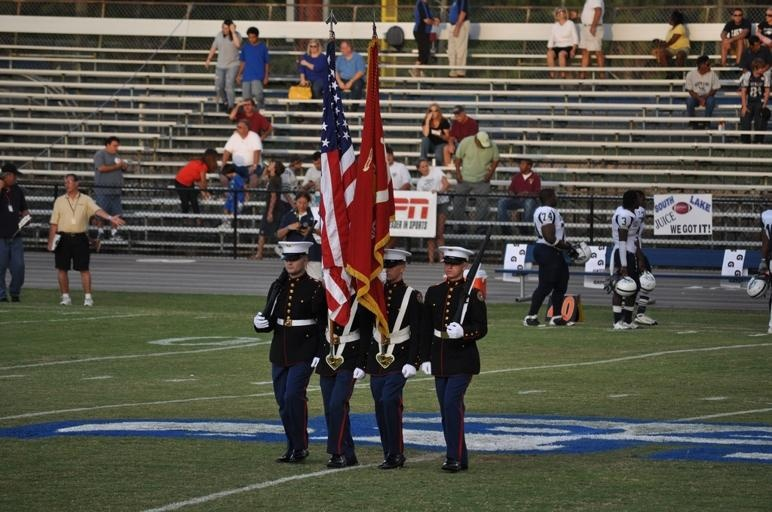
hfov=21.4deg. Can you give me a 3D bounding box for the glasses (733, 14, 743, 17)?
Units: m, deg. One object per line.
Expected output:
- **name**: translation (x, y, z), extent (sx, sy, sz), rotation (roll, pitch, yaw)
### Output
- **glasses**: translation (11.012, -7.420, 63.247), extent (0.168, 0.097, 0.304), rotation (2, 5, 29)

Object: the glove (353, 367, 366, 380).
- **glove**: translation (-0.584, 2.546, 44.408), extent (0.251, 0.199, 0.094), rotation (-21, 34, 25)

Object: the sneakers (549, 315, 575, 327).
- **sneakers**: translation (4.607, 1.682, 53.067), extent (0.656, 0.276, 0.251), rotation (0, -2, 2)

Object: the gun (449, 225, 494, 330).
- **gun**: translation (1.934, 0.401, 44.864), extent (0.843, 2.080, 0.771), rotation (0, 0, 10)

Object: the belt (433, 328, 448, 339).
- **belt**: translation (1.201, 1.697, 44.583), extent (0.184, 0.113, 0.238), rotation (6, -2, -41)

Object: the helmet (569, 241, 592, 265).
- **helmet**: translation (5.109, -0.048, 52.947), extent (0.425, 0.427, 0.577), rotation (-2, -1, 5)

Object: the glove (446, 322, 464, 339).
- **glove**: translation (1.522, 1.621, 44.368), extent (0.364, 0.357, 0.196), rotation (0, 4, 1)

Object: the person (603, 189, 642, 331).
- **person**: translation (6.164, 0.125, 52.076), extent (0.749, 3.562, 0.781), rotation (-1, 4, -16)

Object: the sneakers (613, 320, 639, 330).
- **sneakers**: translation (6.217, 1.761, 52.388), extent (0.653, 0.281, 0.239), rotation (-3, -3, 14)

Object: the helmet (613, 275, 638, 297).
- **helmet**: translation (6.153, 0.771, 51.947), extent (0.433, 0.420, 0.515), rotation (0, 18, -1)

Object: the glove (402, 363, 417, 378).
- **glove**: translation (0.511, 2.490, 44.502), extent (0.245, 0.330, 0.115), rotation (9, 3, 6)

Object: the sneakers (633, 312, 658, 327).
- **sneakers**: translation (6.826, 1.645, 53.119), extent (0.648, 0.292, 0.254), rotation (3, 2, 17)

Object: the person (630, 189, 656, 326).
- **person**: translation (6.544, 0.108, 52.607), extent (0.855, 3.318, 0.960), rotation (0, 2, 42)

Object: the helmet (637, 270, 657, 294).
- **helmet**: translation (6.745, 0.663, 52.316), extent (0.431, 0.525, 0.493), rotation (8, -7, 8)

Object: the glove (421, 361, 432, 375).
- **glove**: translation (0.901, 2.439, 44.558), extent (0.256, 0.346, 0.139), rotation (3, 1, 6)

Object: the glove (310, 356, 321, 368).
- **glove**: translation (-1.559, 2.303, 44.639), extent (0.166, 0.217, 0.065), rotation (7, -14, 19)

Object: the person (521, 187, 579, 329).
- **person**: translation (4.265, 0.064, 52.478), extent (0.996, 3.522, 0.944), rotation (2, 4, 26)

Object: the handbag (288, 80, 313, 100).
- **handbag**: translation (-2.666, -5.146, 63.876), extent (0.695, 0.572, 0.253), rotation (2, 22, 13)

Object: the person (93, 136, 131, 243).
- **person**: translation (-7.987, -1.874, 58.544), extent (1.128, 2.966, 1.032), rotation (1, -2, -2)

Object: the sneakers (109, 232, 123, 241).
- **sneakers**: translation (-7.811, -0.535, 58.741), extent (0.439, 0.149, 0.184), rotation (0, 4, 6)

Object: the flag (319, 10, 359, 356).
- **flag**: translation (-1.122, -0.930, 45.307), extent (1.285, 5.651, 0.784), rotation (4, -5, -14)
